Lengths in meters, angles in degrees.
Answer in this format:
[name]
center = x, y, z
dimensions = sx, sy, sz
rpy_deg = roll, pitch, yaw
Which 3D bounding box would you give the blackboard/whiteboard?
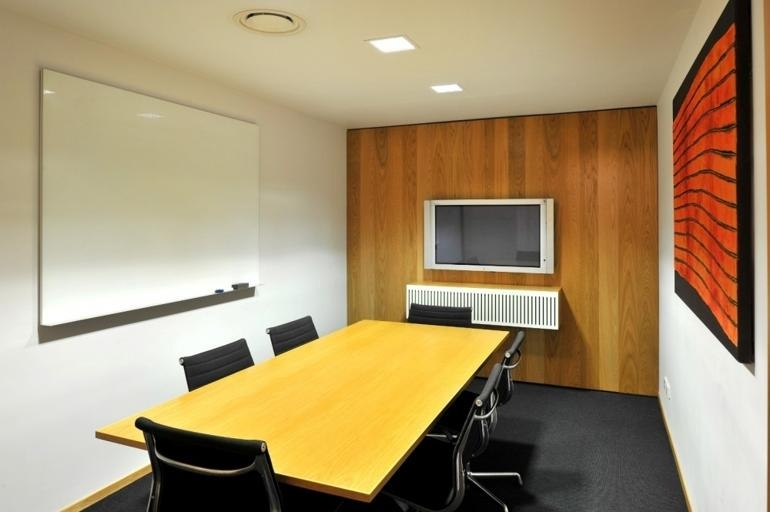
[blackboard/whiteboard]
center = -1.911, -0.443, 4.295
dimensions = 0.050, 1.763, 2.168
rpy_deg = 4, 4, 23

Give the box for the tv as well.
[tv]
center = 1.233, -0.243, 5.886
dimensions = 1.528, 0.856, 0.090
rpy_deg = 2, 9, 23

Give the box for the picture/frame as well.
[picture/frame]
center = 1.920, -0.445, 2.888
dimensions = 0.143, 1.804, 1.532
rpy_deg = 2, 11, 21
